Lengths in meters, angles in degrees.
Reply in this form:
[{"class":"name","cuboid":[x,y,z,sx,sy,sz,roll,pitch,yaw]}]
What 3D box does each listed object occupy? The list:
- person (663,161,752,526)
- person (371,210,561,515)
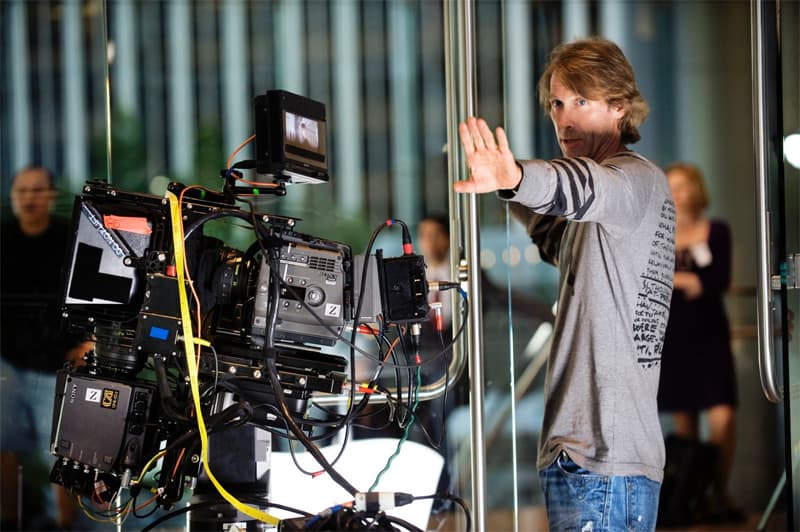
[{"class":"person","cuboid":[1.393,0.358,6.674,0.378,1.667,0.183,-1,-8,4]},{"class":"person","cuboid":[0.219,0.426,6.814,0.891,1.287,0.292,3,2,-13]}]
